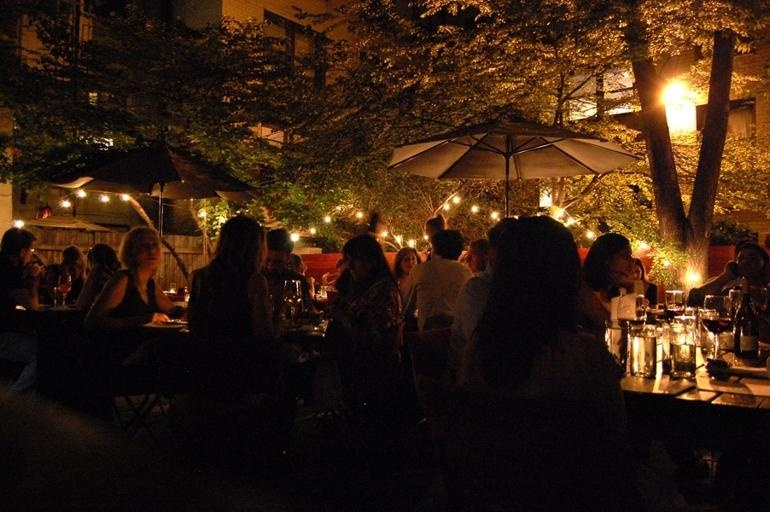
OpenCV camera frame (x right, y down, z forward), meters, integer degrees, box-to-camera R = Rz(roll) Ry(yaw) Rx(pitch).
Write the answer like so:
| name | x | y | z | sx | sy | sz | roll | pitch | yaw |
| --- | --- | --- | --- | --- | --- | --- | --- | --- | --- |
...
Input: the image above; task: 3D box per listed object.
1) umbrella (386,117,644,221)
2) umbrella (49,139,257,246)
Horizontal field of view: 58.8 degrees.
| name | x | y | z | sx | sy | sz | roll | pitch | yaw |
| --- | --- | --- | --- | --- | --- | --- | --- | --- | --- |
| umbrella | 1.452 | -1.217 | 7.958 | 1.771 | 1.114 | 1.769 | 5 | -5 | -19 |
| umbrella | -2.507 | -0.907 | 8.007 | 1.670 | 0.785 | 1.610 | 0 | -1 | 8 |
